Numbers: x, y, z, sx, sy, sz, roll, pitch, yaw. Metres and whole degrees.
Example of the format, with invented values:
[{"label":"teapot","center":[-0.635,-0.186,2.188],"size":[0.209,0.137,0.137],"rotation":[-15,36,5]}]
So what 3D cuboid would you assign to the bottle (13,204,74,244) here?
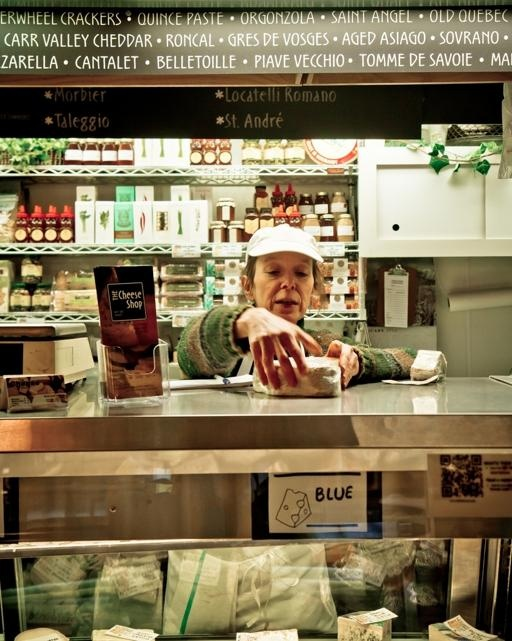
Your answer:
[{"label":"bottle","center":[-1.163,-0.518,3.278],"size":[0.257,0.147,0.245],"rotation":[0,1,0]}]
